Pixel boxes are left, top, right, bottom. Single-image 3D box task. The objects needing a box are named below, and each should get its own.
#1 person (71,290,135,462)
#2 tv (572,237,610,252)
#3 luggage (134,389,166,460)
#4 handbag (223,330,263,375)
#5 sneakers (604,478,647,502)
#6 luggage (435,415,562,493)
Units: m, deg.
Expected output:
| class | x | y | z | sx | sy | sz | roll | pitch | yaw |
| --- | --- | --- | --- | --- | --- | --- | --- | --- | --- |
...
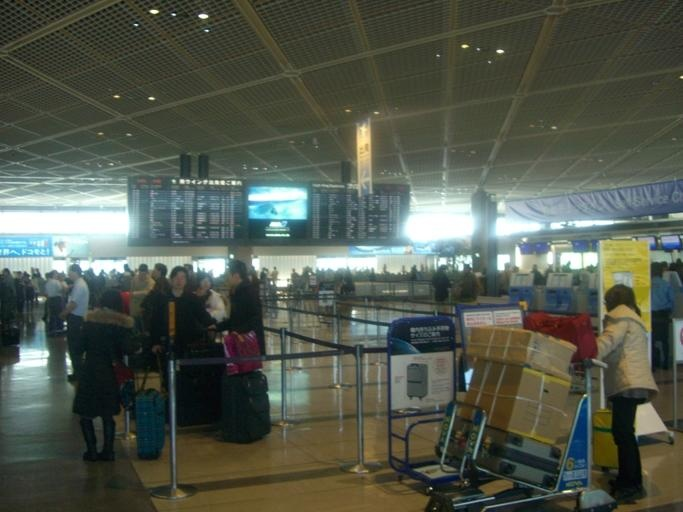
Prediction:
| class | x | y | z | sx | sy | sz | roll | pitch | yaw |
| --- | --- | --- | --- | --- | --- | --- | --- | --- | --- |
| person | -2.803 | 1.370 | 6.692 | 0.686 | 1.952 | 0.542 | -2 | -1 | -14 |
| tv | 7.713 | -0.353 | 17.593 | 0.810 | 0.383 | 0.990 | 2 | 1 | 3 |
| luggage | -2.233 | 1.961 | 6.591 | 0.309 | 0.788 | 0.312 | -2 | -1 | -17 |
| handbag | -1.273 | 1.242 | 7.157 | 0.274 | 0.475 | 0.600 | -3 | -4 | 21 |
| sneakers | 2.880 | 2.331 | 5.656 | 0.284 | 0.079 | 0.183 | -1 | 1 | -17 |
| luggage | 1.770 | 1.959 | 5.479 | 1.035 | 0.407 | 0.747 | 21 | -16 | -11 |
